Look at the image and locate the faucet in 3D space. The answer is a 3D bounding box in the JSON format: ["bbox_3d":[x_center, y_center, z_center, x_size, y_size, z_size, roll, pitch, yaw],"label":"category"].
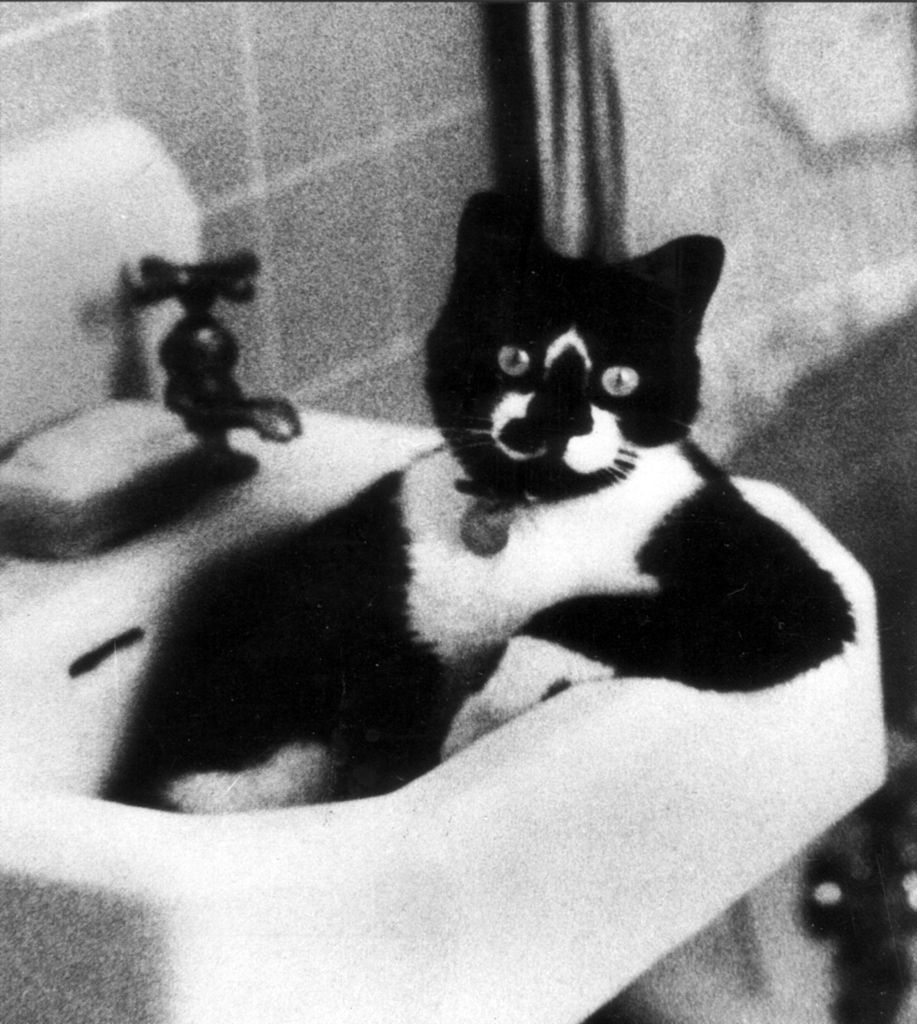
[{"bbox_3d":[-0.309,-0.186,1.670,0.266,0.103,0.357,-4,86,0],"label":"faucet"}]

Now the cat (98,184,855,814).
[{"bbox_3d":[-0.027,-0.049,1.851,0.909,0.666,0.645,-15,109,-9],"label":"cat"}]
